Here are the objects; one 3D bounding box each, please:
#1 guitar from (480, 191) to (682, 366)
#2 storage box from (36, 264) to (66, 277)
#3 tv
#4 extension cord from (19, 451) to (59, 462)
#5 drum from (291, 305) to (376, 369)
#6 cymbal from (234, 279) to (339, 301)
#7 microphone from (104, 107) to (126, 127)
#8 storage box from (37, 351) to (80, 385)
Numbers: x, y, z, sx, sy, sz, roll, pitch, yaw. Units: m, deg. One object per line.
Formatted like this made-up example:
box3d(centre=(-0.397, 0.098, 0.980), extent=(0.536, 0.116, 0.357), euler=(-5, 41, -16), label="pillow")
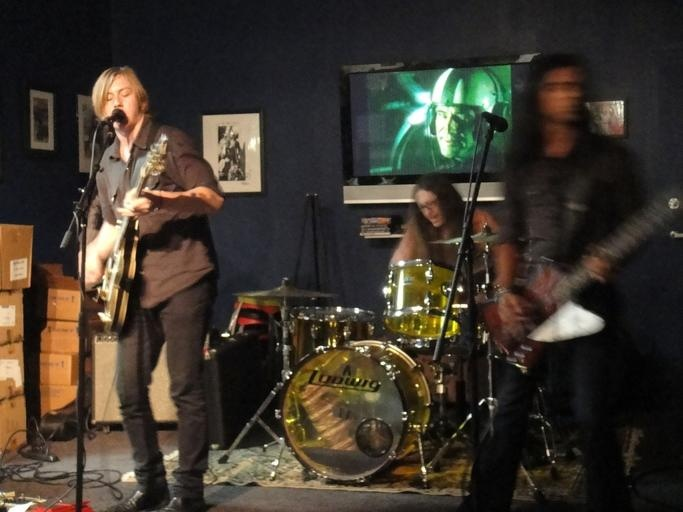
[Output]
box3d(centre=(0.923, 0.089, 2.812), extent=(0.276, 1.038, 0.183), euler=(47, 3, -1), label="guitar")
box3d(centre=(-1.943, 0.082, 5.043), extent=(0.118, 0.066, 0.111), euler=(2, -6, -16), label="storage box")
box3d(centre=(0.669, -0.895, 5.114), extent=(1.483, 0.929, 0.066), euler=(0, 3, 10), label="tv")
box3d(centre=(-1.785, 1.175, 4.476), extent=(0.283, 0.034, 0.107), euler=(0, 1, 39), label="extension cord")
box3d(centre=(-0.071, 0.449, 4.546), extent=(0.480, 0.444, 0.456), euler=(0, -7, 4), label="drum")
box3d(centre=(-0.349, 0.194, 4.538), extent=(0.452, 0.119, 0.444), euler=(-1, 1, -37), label="cymbal")
box3d(centre=(-1.058, -0.656, 3.545), extent=(0.060, 0.055, 0.128), euler=(-12, 3, -2), label="microphone")
box3d(centre=(-1.825, 0.720, 5.019), extent=(0.375, 0.236, 0.195), euler=(1, -7, 11), label="storage box")
